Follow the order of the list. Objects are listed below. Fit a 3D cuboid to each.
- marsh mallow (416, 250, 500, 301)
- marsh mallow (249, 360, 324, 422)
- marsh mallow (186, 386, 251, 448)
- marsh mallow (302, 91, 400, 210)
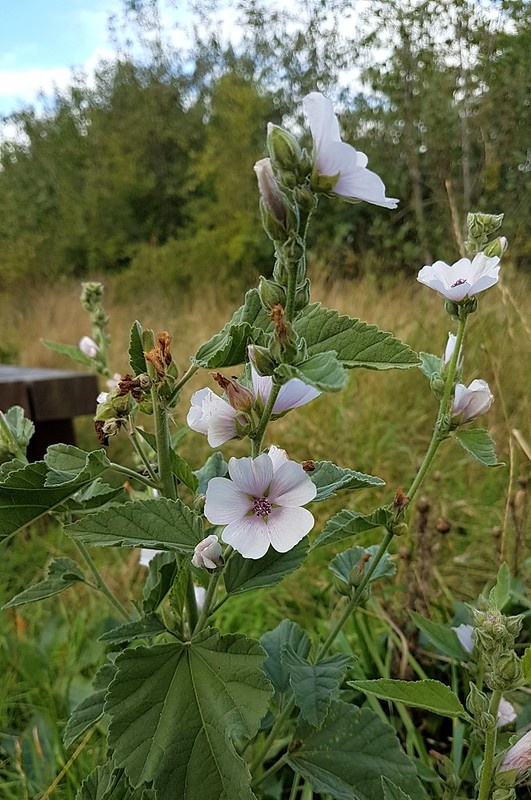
[{"bbox_3d":[0.333,-0.208,1.200,0.111,0.054,0.110,6,25,45],"label":"marsh mallow"},{"bbox_3d":[0.015,-0.001,1.067,0.113,0.050,0.113,26,-14,8],"label":"marsh mallow"},{"bbox_3d":[-0.087,0.031,1.107,0.072,0.092,0.186,-14,16,-10],"label":"marsh mallow"},{"bbox_3d":[0.111,-0.328,0.918,0.073,0.158,0.116,-2,18,30],"label":"marsh mallow"}]
